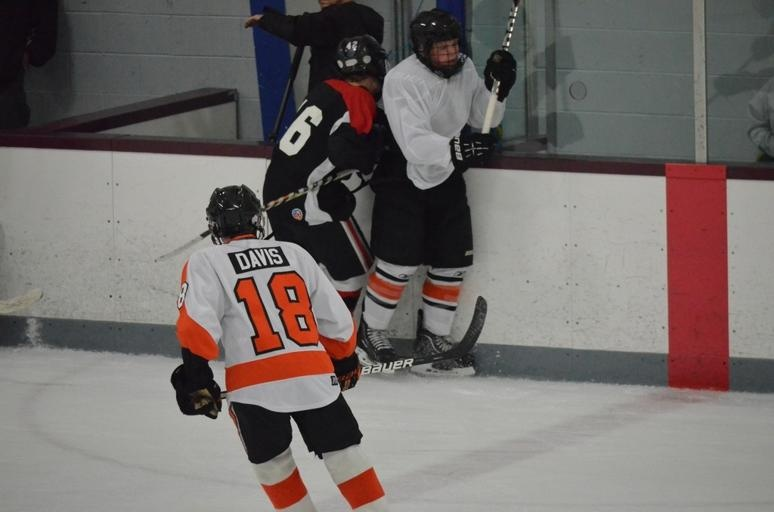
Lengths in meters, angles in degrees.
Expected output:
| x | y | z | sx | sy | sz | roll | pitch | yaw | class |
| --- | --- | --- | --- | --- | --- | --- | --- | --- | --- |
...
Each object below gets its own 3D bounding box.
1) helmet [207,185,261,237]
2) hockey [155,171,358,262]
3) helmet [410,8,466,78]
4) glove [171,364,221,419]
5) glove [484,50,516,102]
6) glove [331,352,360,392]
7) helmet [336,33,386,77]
| x | y | z | sx | sy | sz | roll | pitch | yaw | class |
| --- | --- | --- | --- | --- | --- | --- | --- | --- | --- |
| -0.790 | -0.220 | 5.469 | 0.228 | 0.273 | 0.282 | -9 | -8 | -13 | helmet |
| -0.716 | -0.259 | 6.193 | 1.167 | 0.121 | 0.063 | -26 | -22 | 14 | hockey |
| 0.300 | -1.273 | 6.341 | 0.278 | 0.352 | 0.341 | -34 | 37 | -12 | helmet |
| -0.944 | 0.659 | 5.220 | 0.258 | 0.277 | 0.169 | 1 | 8 | -8 | glove |
| 0.667 | -1.104 | 6.311 | 0.101 | 0.297 | 0.218 | 5 | 20 | -35 | glove |
| -0.214 | 0.582 | 5.393 | 0.146 | 0.149 | 0.176 | -6 | -12 | -23 | glove |
| -0.202 | -1.230 | 6.372 | 0.222 | 0.281 | 0.281 | 12 | 15 | 42 | helmet |
